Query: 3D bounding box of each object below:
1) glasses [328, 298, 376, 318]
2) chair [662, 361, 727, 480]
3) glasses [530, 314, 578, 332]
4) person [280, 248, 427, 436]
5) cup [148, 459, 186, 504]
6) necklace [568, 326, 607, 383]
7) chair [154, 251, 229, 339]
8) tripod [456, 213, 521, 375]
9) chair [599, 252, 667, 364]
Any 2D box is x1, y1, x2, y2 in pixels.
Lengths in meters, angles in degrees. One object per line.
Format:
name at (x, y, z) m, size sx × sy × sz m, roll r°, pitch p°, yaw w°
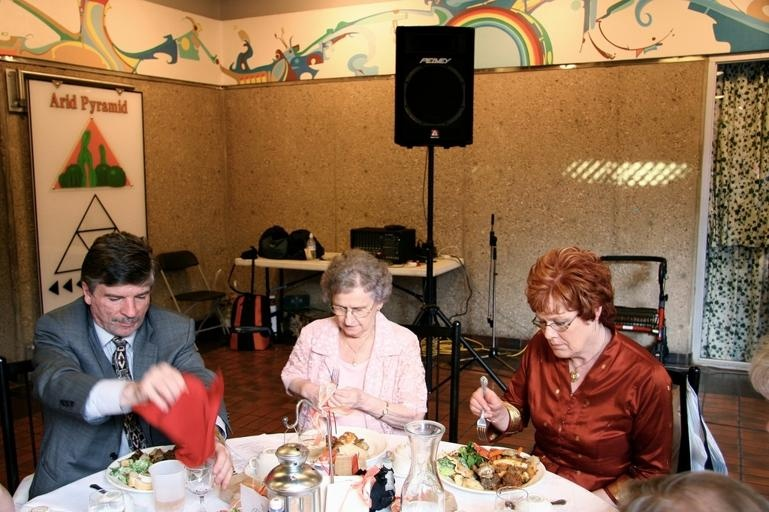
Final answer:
glasses at (-0.171, 0.283, 3.252) m, size 0.229 × 0.076 × 0.077 m, roll 0°, pitch 6°, yaw 0°
chair at (1.423, 0.766, 2.840) m, size 0.272 × 0.476 × 0.436 m, roll 2°, pitch 6°, yaw 18°
glasses at (0.785, 0.317, 2.967) m, size 0.210 × 0.081 × 0.078 m, roll 4°, pitch 7°, yaw 43°
person at (-0.150, 0.444, 3.299) m, size 0.628 × 0.946 × 0.610 m, roll -4°, pitch 7°, yaw -32°
cup at (-0.873, 0.910, 2.532) m, size 0.171 × 0.145 × 0.135 m, roll 2°, pitch -1°, yaw -6°
necklace at (1.021, 0.457, 3.071) m, size 0.166 × 0.088 × 0.228 m, roll -21°, pitch 5°, yaw 27°
chair at (-2.140, 0.442, 6.934) m, size 0.706 × 0.914 × 0.621 m, roll 8°, pitch 13°, yaw 24°
tripod at (1.120, 0.432, 6.565) m, size 0.824 × 1.392 × 0.874 m, roll -8°, pitch -18°, yaw 32°
chair at (2.328, 0.511, 5.977) m, size 0.730 × 0.972 × 0.694 m, roll 5°, pitch 9°, yaw 31°
